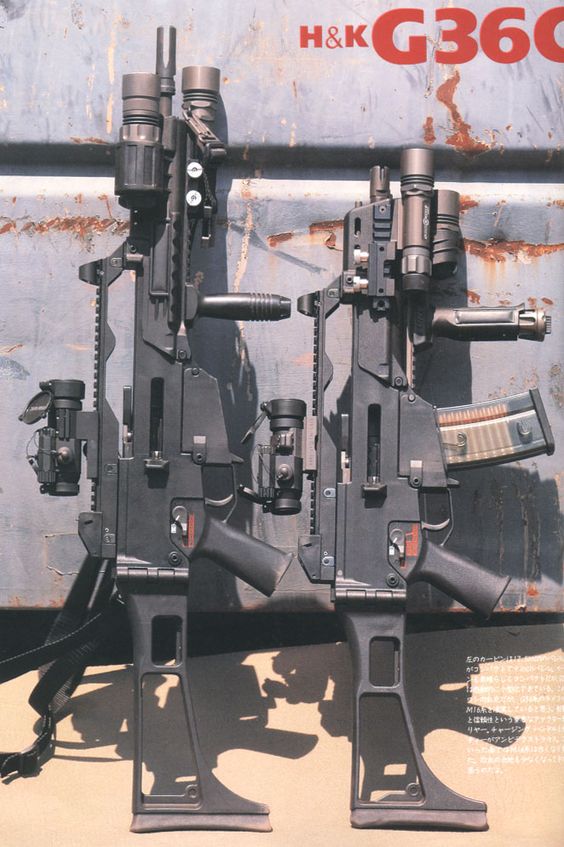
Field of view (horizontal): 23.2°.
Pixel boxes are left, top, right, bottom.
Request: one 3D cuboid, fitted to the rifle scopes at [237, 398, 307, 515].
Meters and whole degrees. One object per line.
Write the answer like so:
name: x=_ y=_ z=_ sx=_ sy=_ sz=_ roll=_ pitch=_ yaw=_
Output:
rifle scopes: x=-0.027 y=0.124 z=5.099 sx=0.222 sy=0.440 sz=0.204 roll=-1 pitch=-19 yaw=4
